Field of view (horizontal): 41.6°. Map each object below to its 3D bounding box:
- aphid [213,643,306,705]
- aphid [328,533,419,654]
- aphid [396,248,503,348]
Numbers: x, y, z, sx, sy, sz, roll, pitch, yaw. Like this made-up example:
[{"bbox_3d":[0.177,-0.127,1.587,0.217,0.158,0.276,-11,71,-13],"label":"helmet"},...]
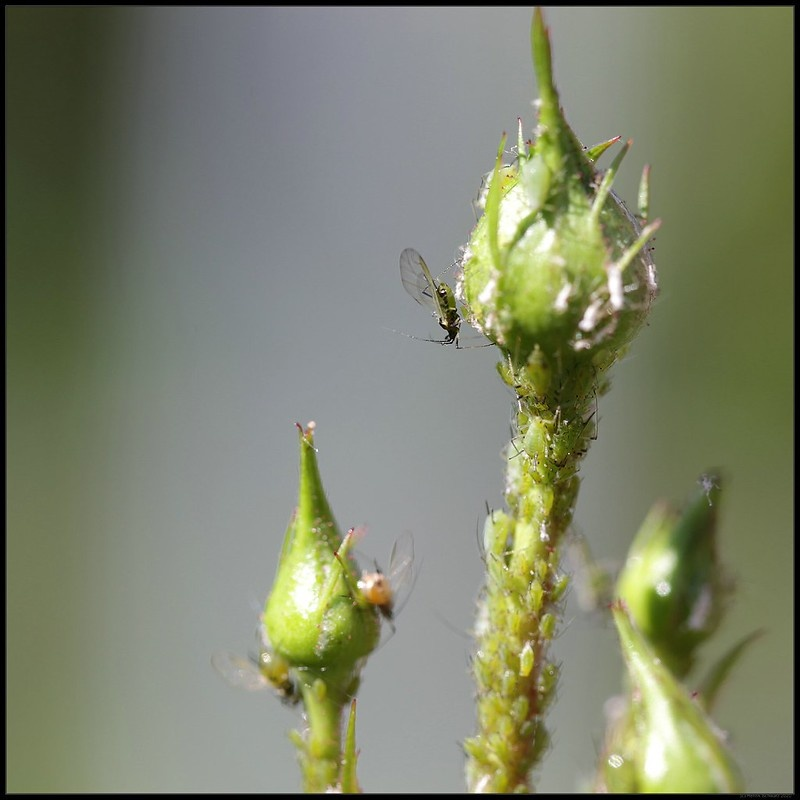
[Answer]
[{"bbox_3d":[-0.130,0.242,0.955,0.078,0.069,0.058,0,-65,-14],"label":"aphid"},{"bbox_3d":[-0.029,0.166,0.950,0.064,0.094,0.051,7,-73,-2],"label":"aphid"},{"bbox_3d":[0.045,-0.082,1.061,0.059,0.108,0.116,-56,-26,-9],"label":"aphid"}]
